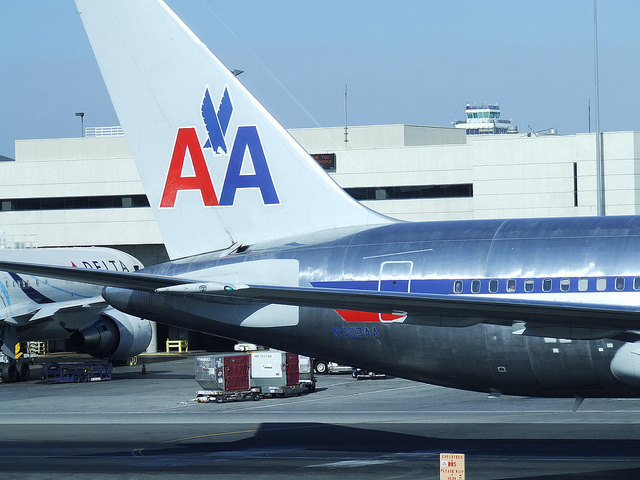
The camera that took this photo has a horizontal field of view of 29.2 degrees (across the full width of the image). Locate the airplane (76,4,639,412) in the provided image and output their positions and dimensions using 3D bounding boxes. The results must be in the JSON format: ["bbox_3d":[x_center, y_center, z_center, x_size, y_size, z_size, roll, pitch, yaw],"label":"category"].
[{"bbox_3d":[0.854,0.110,32.858,13.959,5.234,12.537,0,2,20],"label":"airplane"}]
